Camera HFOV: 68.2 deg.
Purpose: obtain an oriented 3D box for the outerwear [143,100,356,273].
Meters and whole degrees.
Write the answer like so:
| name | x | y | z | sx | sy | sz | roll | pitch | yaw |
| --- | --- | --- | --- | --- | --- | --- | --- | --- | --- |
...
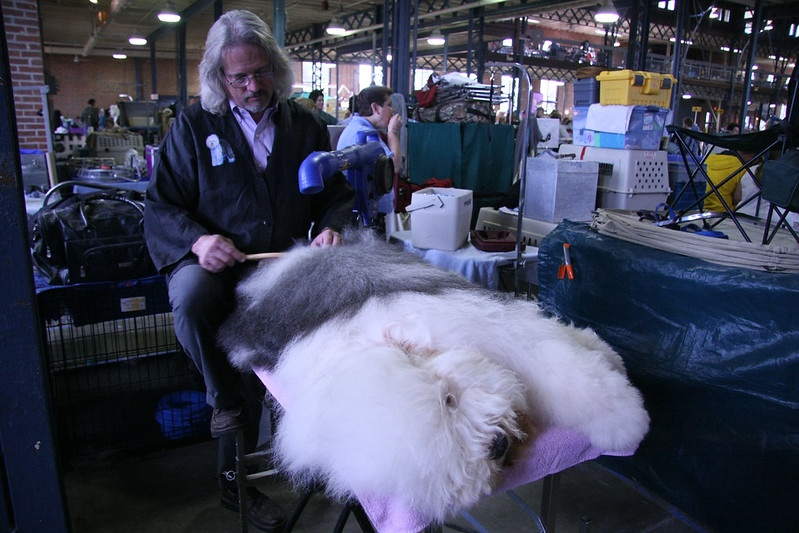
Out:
| name | x | y | z | sx | sy | sz | roll | pitch | yaw |
| --- | --- | --- | --- | --- | --- | --- | --- | --- | --- |
| outerwear | -0.747 | -0.441 | 2.979 | 1.044 | 0.925 | 0.579 | -6 | 19 | -24 |

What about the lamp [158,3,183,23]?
| name | x | y | z | sx | sy | sz | roll | pitch | yaw |
| --- | --- | --- | --- | --- | --- | --- | --- | --- | --- |
| lamp | -4.581 | -5.063 | 11.661 | 0.337 | 0.347 | 0.579 | -8 | 16 | -24 |

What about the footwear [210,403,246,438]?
| name | x | y | z | sx | sy | sz | roll | pitch | yaw |
| --- | --- | --- | --- | --- | --- | --- | --- | --- | --- |
| footwear | -0.793 | 0.699 | 2.726 | 0.147 | 0.215 | 0.117 | -3 | 9 | -14 |

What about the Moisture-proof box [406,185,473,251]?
| name | x | y | z | sx | sy | sz | roll | pitch | yaw |
| --- | --- | --- | --- | --- | --- | --- | --- | --- | --- |
| Moisture-proof box | 0.272 | -0.305 | 3.816 | 0.455 | 0.358 | 0.463 | -6 | 17 | -23 |

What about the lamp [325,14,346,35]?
| name | x | y | z | sx | sy | sz | roll | pitch | yaw |
| --- | --- | --- | --- | --- | --- | --- | --- | --- | --- |
| lamp | -1.427 | -5.271 | 13.075 | 0.503 | 0.506 | 0.526 | -2 | 19 | -3 |

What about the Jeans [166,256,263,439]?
| name | x | y | z | sx | sy | sz | roll | pitch | yaw |
| --- | --- | --- | --- | --- | --- | --- | --- | --- | --- |
| Jeans | -0.864 | 0.394 | 2.801 | 0.418 | 0.822 | 0.264 | 4 | -4 | 6 |

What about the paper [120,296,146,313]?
| name | x | y | z | sx | sy | sz | roll | pitch | yaw |
| --- | --- | --- | --- | --- | --- | --- | --- | --- | --- |
| paper | -1.568 | 0.222 | 3.477 | 0.140 | 0.096 | 0.033 | 0 | 9 | -20 |
